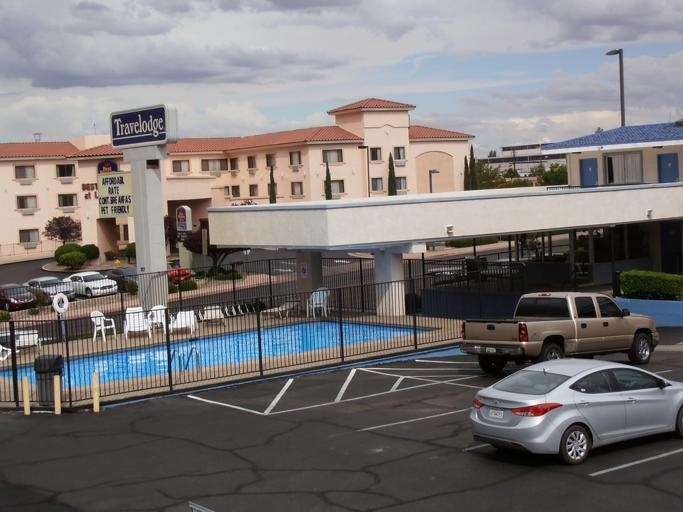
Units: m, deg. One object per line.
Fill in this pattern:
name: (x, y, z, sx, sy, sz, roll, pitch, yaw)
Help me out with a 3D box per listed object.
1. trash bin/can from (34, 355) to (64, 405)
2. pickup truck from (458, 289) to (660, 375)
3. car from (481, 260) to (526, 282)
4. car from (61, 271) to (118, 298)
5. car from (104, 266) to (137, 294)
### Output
trash bin/can: (-7.791, 3.305, 20.957, 0.779, 1.413, 0.602, -4, 3, -3)
pickup truck: (6.500, 2.065, 23.114, 5.060, 1.809, 2.417, -1, -2, -34)
car: (7.495, 0.662, 36.680, 1.586, 0.954, 4.886, -2, 4, 21)
car: (-14.788, 1.667, 47.292, 1.525, 1.105, 3.260, -3, 2, -40)
car: (-12.880, 1.420, 46.251, 1.332, 1.058, 3.073, -2, 9, -30)
